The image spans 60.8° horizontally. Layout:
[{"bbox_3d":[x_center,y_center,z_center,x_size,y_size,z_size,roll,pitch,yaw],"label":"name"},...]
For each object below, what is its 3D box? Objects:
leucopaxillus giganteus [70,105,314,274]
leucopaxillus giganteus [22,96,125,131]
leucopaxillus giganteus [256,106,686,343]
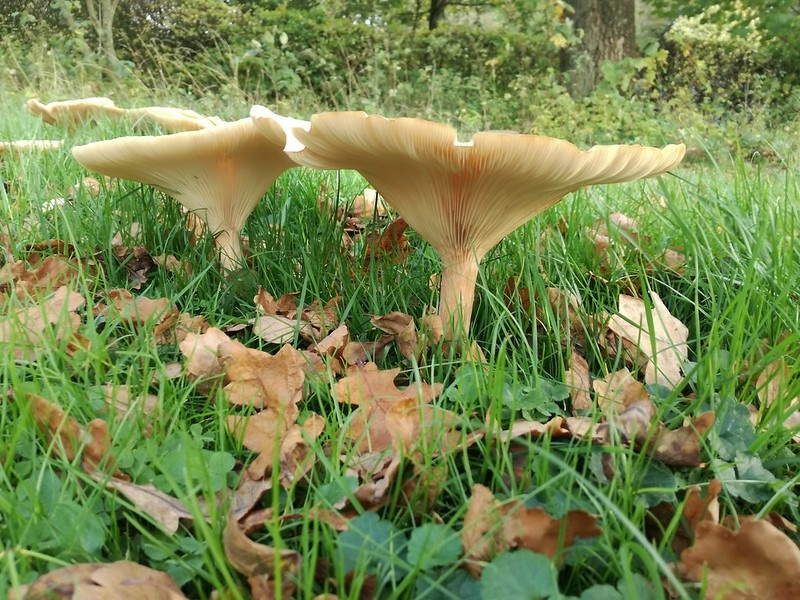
[{"bbox_3d":[-0.685,-0.382,2.677,0.831,0.518,0.774,-6,-7,-44],"label":"leucopaxillus giganteus"},{"bbox_3d":[-2.240,-1.300,4.691,0.472,0.207,0.436,-6,4,-31],"label":"leucopaxillus giganteus"},{"bbox_3d":[0.193,-0.217,2.117,1.149,0.748,0.541,-3,23,-13],"label":"leucopaxillus giganteus"}]
